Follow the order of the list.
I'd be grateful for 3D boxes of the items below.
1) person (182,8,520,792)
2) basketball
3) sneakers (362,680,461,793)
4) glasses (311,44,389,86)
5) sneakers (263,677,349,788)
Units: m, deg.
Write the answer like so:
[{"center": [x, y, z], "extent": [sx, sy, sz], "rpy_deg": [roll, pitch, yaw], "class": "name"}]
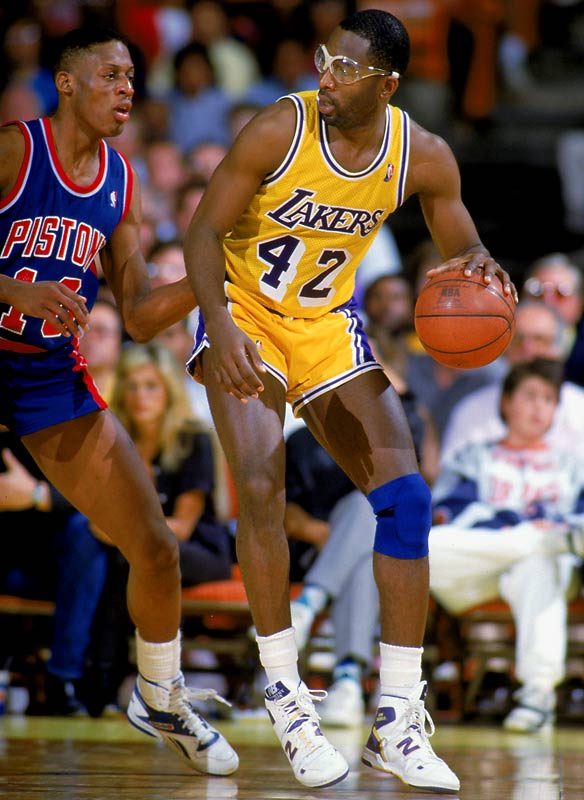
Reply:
[{"center": [0.129, -0.022, 2.068], "extent": [0.715, 1.648, 0.605], "rpy_deg": [-2, 7, -14], "class": "person"}, {"center": [0.406, -0.186, 2.186], "extent": [0.252, 0.254, 0.249], "rpy_deg": [8, 17, 32], "class": "basketball"}, {"center": [0.241, 0.728, 2.006], "extent": [0.158, 0.218, 0.319], "rpy_deg": [-1, 6, -7], "class": "sneakers"}, {"center": [0.116, -0.686, 1.945], "extent": [0.125, 0.039, 0.104], "rpy_deg": [4, 14, -34], "class": "glasses"}, {"center": [0.019, 0.677, 1.982], "extent": [0.119, 0.117, 0.277], "rpy_deg": [-24, 40, -12], "class": "sneakers"}]
